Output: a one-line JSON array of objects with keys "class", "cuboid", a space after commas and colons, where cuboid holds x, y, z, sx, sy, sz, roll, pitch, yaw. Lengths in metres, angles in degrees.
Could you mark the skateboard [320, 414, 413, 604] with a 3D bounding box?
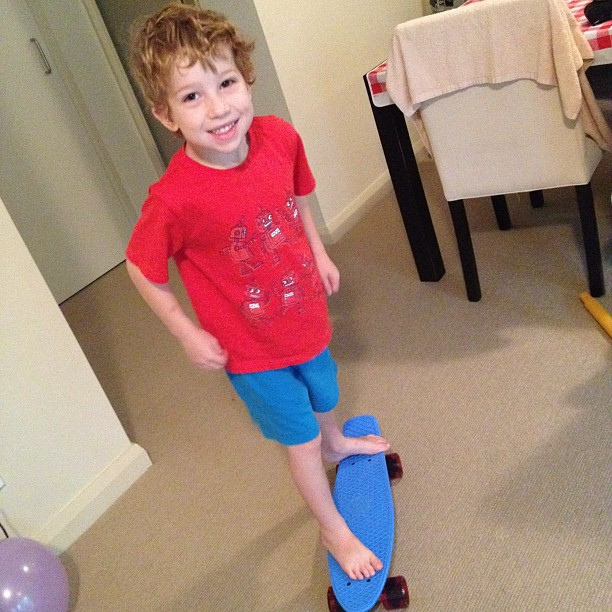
[{"class": "skateboard", "cuboid": [0.128, 0.444, 1.067, 0.104, 0.068, 0.443, -4, 30, 9]}]
